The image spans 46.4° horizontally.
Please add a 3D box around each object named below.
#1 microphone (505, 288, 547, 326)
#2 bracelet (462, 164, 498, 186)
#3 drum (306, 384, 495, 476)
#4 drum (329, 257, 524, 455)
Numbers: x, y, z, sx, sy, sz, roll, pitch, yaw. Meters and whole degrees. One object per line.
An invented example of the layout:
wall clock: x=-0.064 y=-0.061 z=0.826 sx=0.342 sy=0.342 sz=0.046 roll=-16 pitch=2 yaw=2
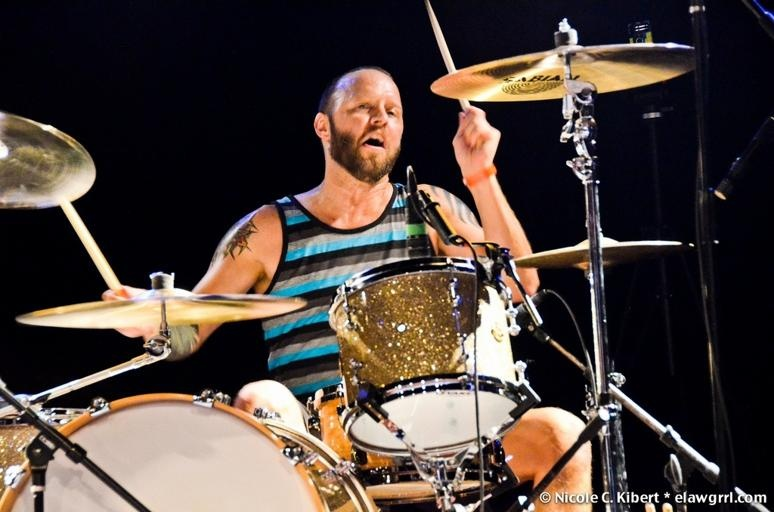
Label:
microphone: x=0.517 y=0.212 z=3.275 sx=0.207 sy=0.069 sz=0.071 roll=-47 pitch=-5 yaw=13
bracelet: x=0.399 y=-0.344 z=3.913 sx=0.107 sy=0.041 sz=0.095 roll=-26 pitch=-7 yaw=0
drum: x=-0.023 y=0.707 z=3.395 sx=0.473 sy=0.156 sz=0.421 roll=6 pitch=-23 yaw=-16
drum: x=0.105 y=0.316 z=3.306 sx=0.742 sy=0.512 sz=0.696 roll=-10 pitch=-35 yaw=-7
